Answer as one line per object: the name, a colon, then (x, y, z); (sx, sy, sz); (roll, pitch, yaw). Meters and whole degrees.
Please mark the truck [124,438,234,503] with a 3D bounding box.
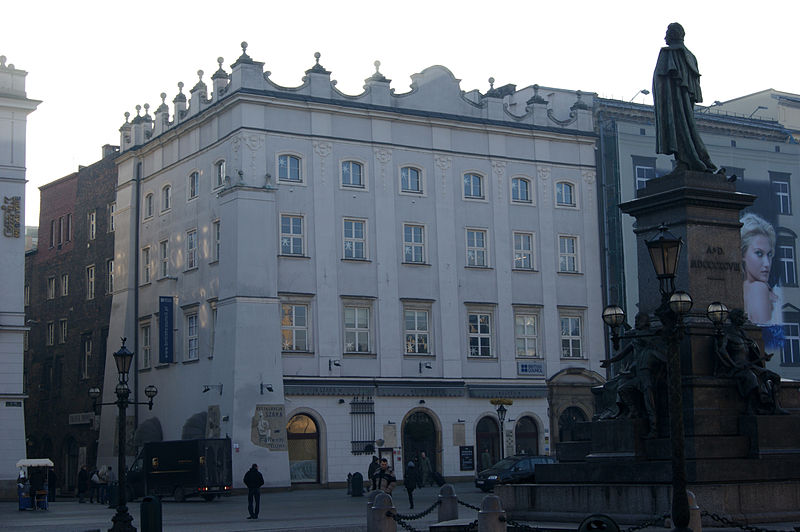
truck: (-10.538, 9.532, 66.479); (4.681, 2.263, 2.678); (-4, -11, 29)
